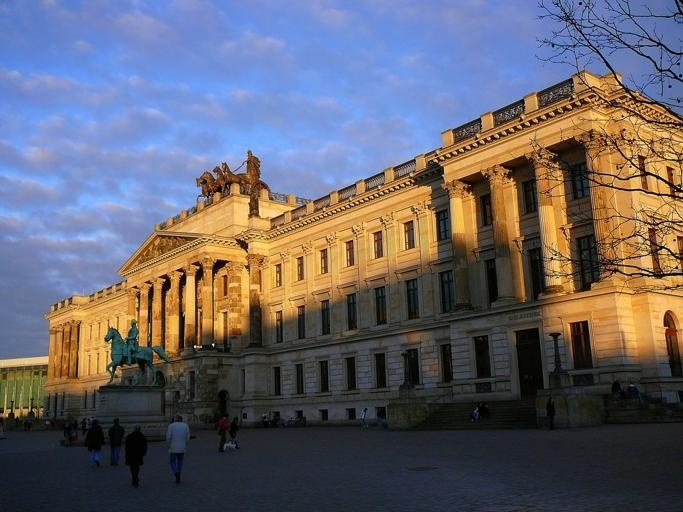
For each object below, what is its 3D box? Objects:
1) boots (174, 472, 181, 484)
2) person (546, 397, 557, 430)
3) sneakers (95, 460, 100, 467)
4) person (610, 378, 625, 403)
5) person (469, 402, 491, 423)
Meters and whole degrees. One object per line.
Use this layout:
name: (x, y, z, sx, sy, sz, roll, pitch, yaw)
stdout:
boots: (-5.581, 7.589, 23.941, 0.182, 0.513, 0.226, -1, 6, -1)
person: (10.454, 7.766, 34.820, 0.486, 1.601, 1.071, -6, -17, 15)
sneakers: (-10.090, 8.603, 29.019, 0.150, 0.290, 0.522, 4, -17, -19)
person: (14.778, 7.107, 37.335, 0.664, 1.153, 1.720, -7, -17, 19)
person: (8.128, 9.164, 40.967, 1.162, 0.681, 0.694, 1, -19, -6)
